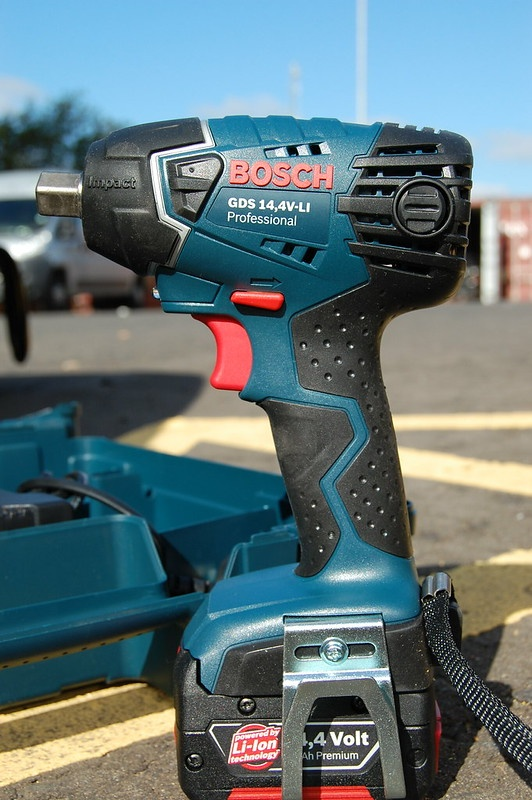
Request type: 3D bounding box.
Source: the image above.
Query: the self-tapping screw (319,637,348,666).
[{"bbox_3d":[0.097,0.360,1.105,0.038,0.035,0.016,-3,15,2],"label":"self-tapping screw"}]
